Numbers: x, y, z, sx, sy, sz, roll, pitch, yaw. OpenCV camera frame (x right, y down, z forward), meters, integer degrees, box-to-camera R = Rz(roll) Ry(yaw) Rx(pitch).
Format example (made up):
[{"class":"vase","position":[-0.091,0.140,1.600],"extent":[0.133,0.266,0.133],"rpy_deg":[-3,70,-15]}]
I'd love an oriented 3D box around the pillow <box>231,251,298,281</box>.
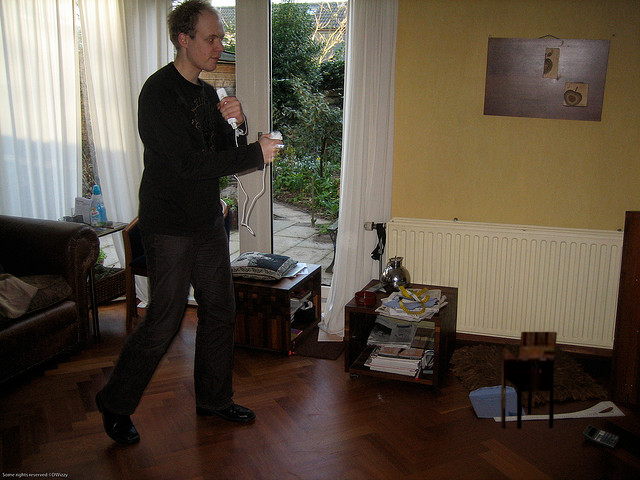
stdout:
[{"class":"pillow","position":[-0.420,0.180,3.311],"extent":[0.243,0.082,0.254],"rpy_deg":[4,19,10]}]

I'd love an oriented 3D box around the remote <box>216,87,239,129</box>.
[{"class":"remote","position":[-0.452,-0.646,2.346],"extent":[0.069,0.250,0.068],"rpy_deg":[-13,-11,-47]}]

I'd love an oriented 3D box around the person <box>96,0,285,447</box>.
[{"class":"person","position":[-0.650,-0.025,2.297],"extent":[0.832,2.134,0.437],"rpy_deg":[-5,15,-27]}]
